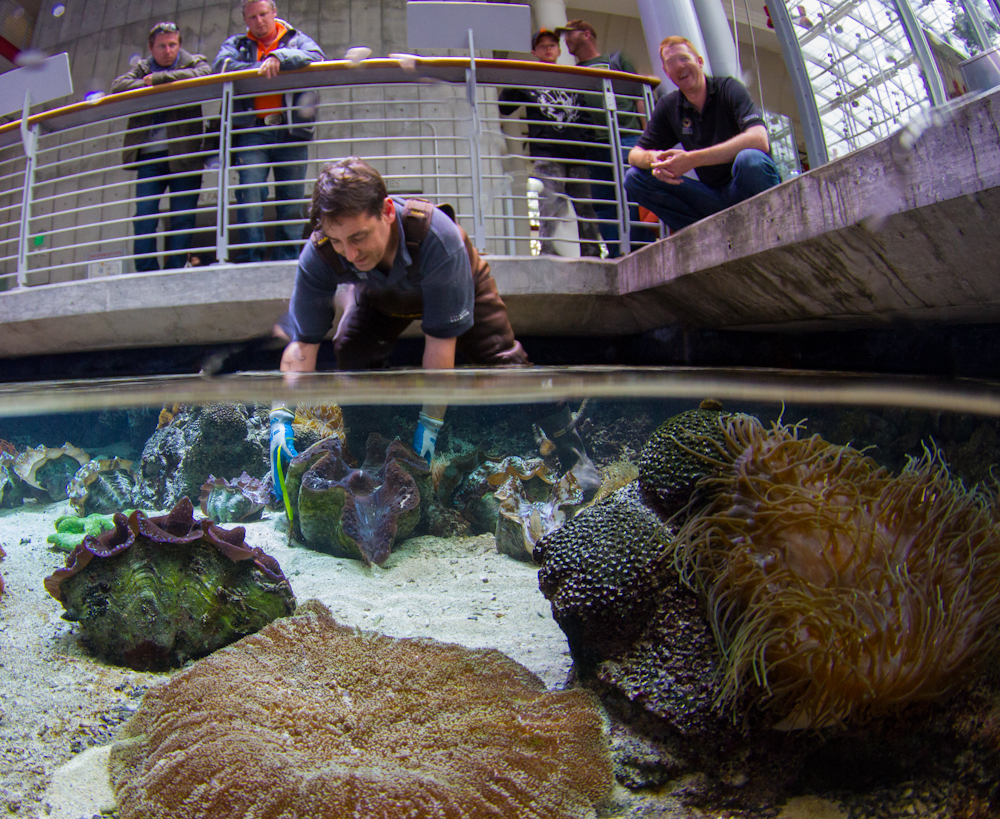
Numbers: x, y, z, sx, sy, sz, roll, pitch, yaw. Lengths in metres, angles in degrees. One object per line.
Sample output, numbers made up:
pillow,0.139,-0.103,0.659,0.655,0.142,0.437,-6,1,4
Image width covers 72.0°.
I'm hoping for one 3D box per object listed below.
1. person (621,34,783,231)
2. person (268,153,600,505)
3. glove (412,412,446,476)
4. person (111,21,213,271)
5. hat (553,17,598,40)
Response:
person,0.952,-1.325,3.443,0.642,0.957,0.636,-6,7,22
person,-0.292,-0.285,2.286,0.843,1.116,0.779,-6,29,2
glove,-0.124,0.045,1.176,0.065,0.053,0.115,-7,40,3
person,-2.150,-1.702,4.447,0.594,1.540,1.789,-8,21,-26
hat,0.500,-2.506,4.517,0.240,0.096,0.221,0,19,-3
